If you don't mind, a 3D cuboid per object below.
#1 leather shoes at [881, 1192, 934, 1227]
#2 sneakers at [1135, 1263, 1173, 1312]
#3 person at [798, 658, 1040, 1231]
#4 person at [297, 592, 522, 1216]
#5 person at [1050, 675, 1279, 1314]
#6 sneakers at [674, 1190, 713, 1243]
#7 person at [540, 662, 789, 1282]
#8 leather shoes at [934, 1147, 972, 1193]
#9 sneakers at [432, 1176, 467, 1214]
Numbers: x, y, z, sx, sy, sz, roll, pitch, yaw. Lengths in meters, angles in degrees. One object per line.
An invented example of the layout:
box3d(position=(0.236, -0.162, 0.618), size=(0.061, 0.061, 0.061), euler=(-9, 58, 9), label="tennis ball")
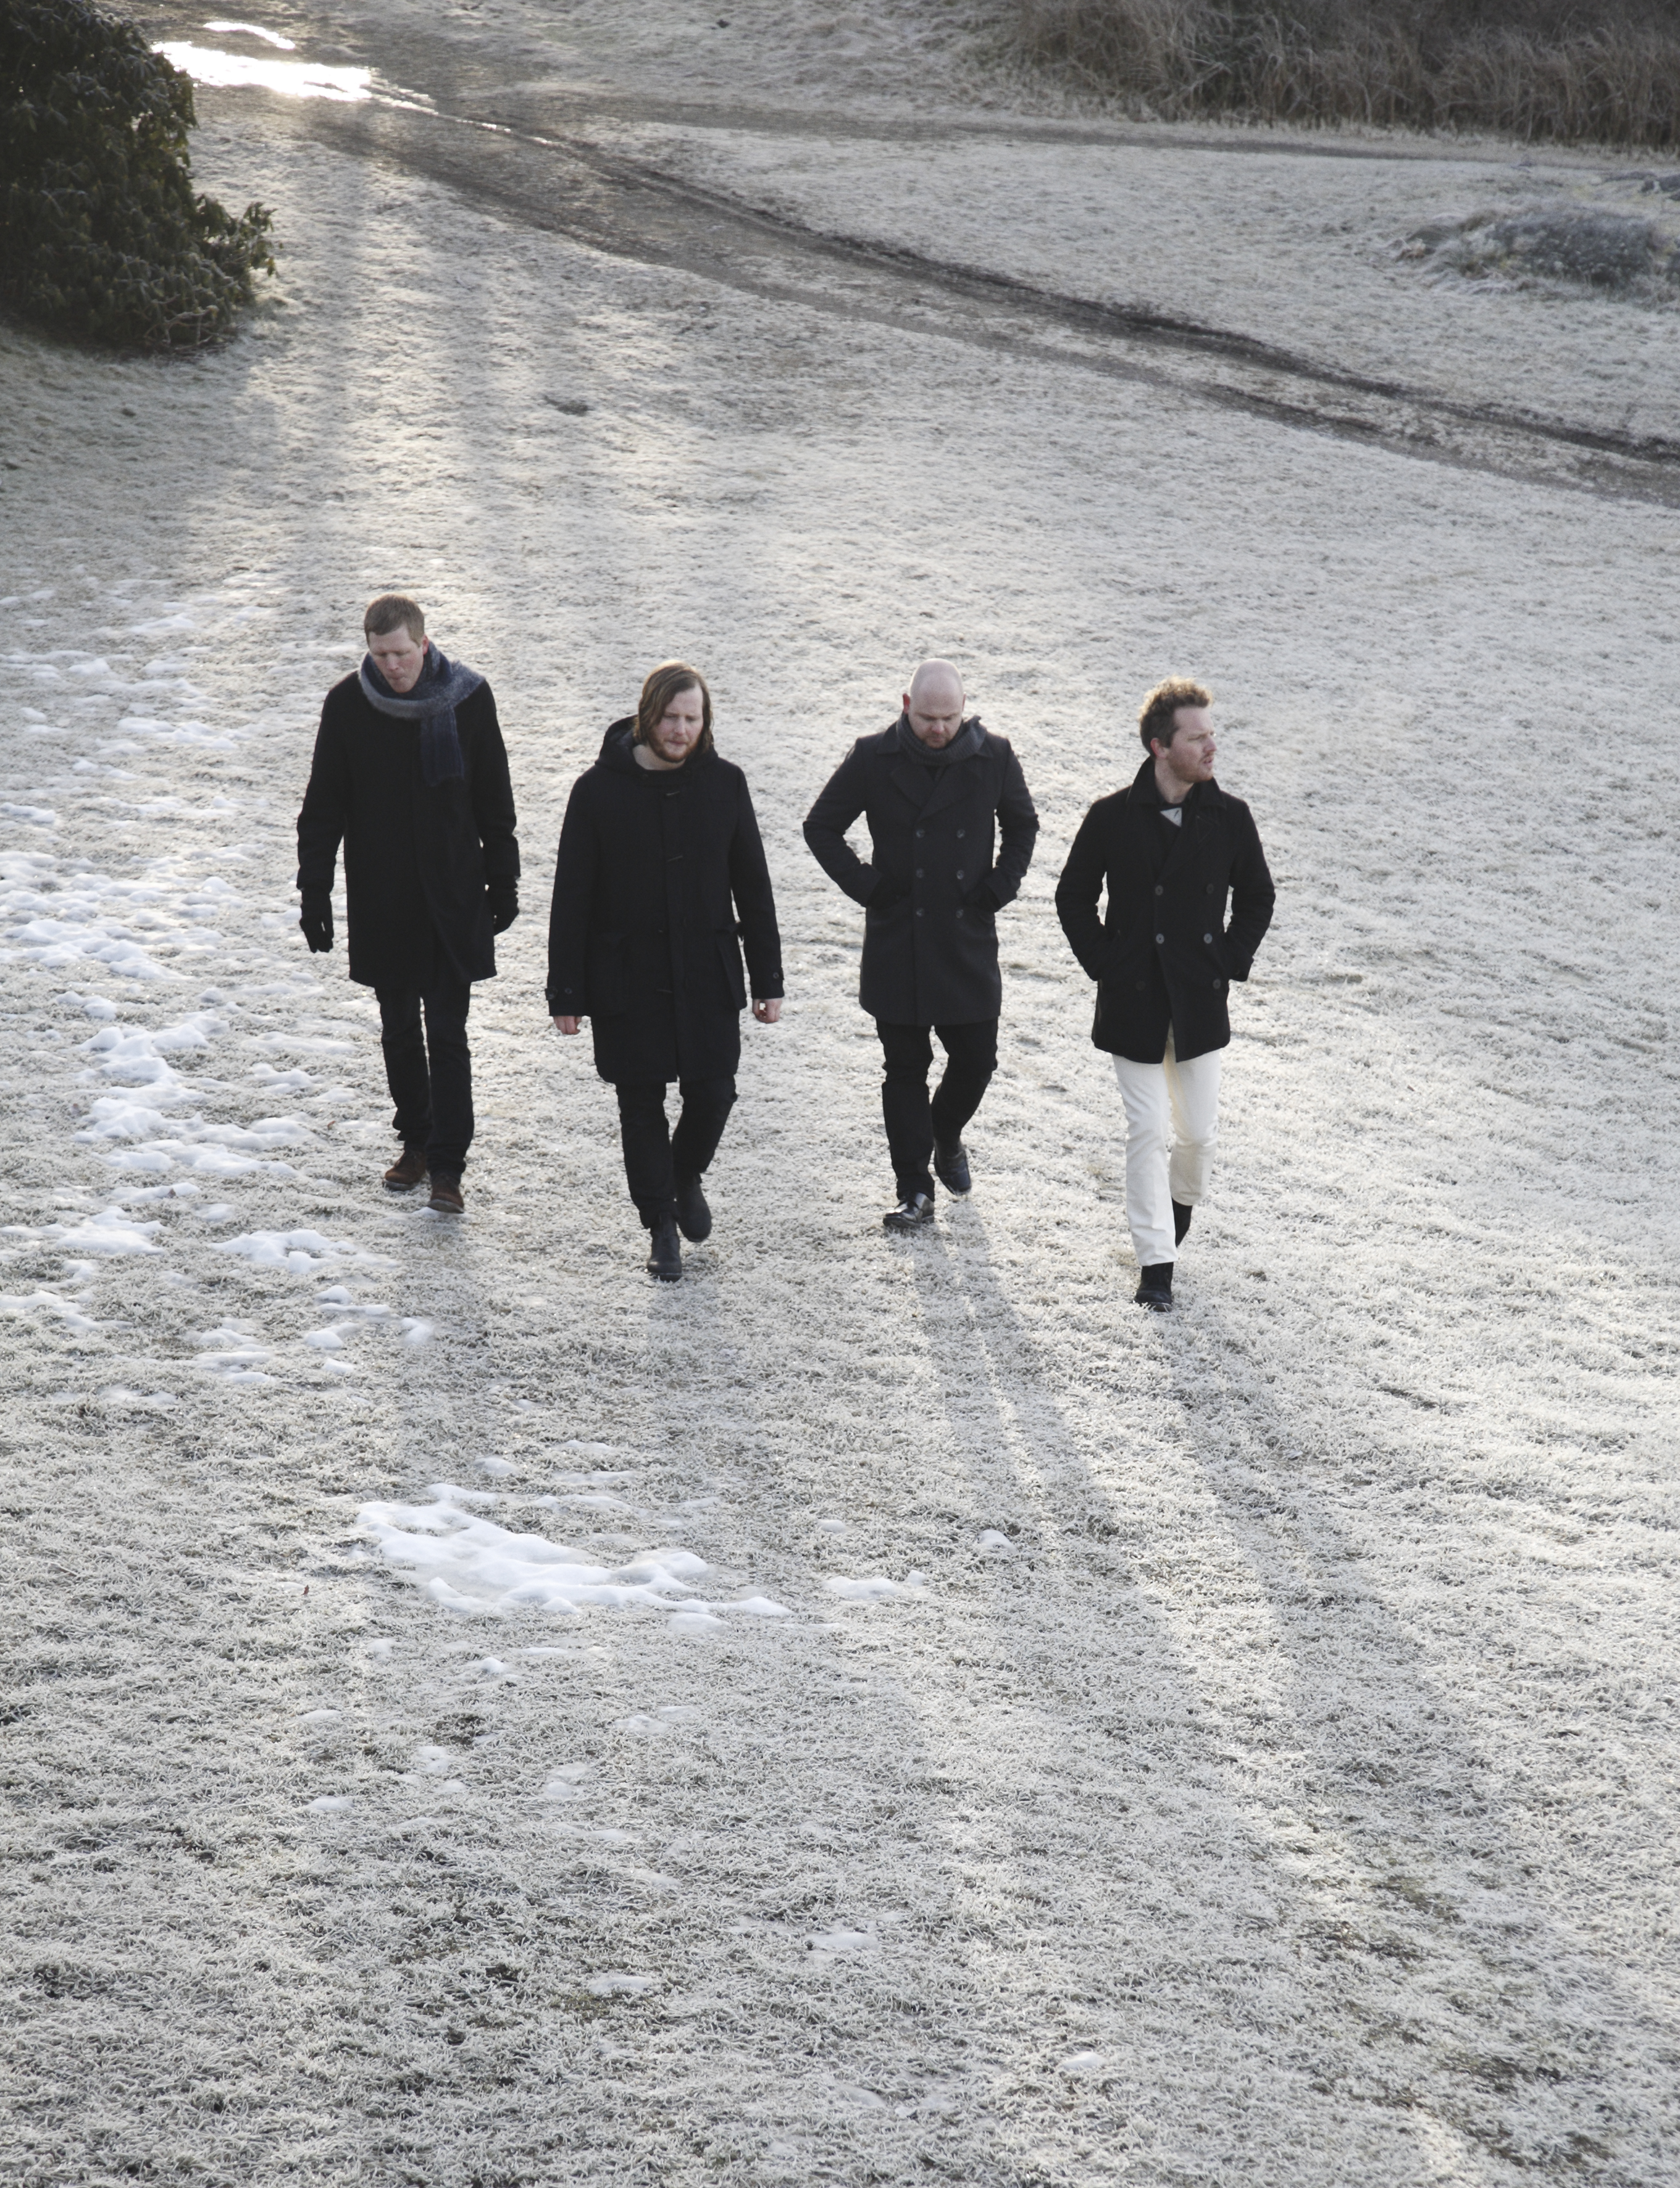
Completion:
box3d(position=(0.221, 0.401, 11.840), size=(0.178, 0.125, 0.080), euler=(0, 1, -4), label="leather shoes")
box3d(position=(0.983, 0.617, 11.370), size=(0.093, 0.146, 0.154), euler=(1, -13, 4), label="sneakers")
box3d(position=(0.270, -0.435, 11.474), size=(0.666, 1.813, 0.405), euler=(-8, 21, -21), label="person")
box3d(position=(-1.321, -0.463, 11.152), size=(0.645, 1.857, 0.341), euler=(-3, 20, -8), label="person")
box3d(position=(0.976, -0.255, 11.119), size=(0.633, 1.986, 0.457), euler=(4, 20, 12), label="person")
box3d(position=(-0.460, 0.421, 11.303), size=(0.066, 0.192, 0.137), euler=(-5, 14, -3), label="sneakers")
box3d(position=(-0.539, -0.291, 10.820), size=(0.667, 1.966, 0.316), euler=(-12, 23, -29), label="person")
box3d(position=(0.374, 0.286, 12.025), size=(0.070, 0.196, 0.139), euler=(-6, 51, 3), label="leather shoes")
box3d(position=(-1.252, 0.344, 11.494), size=(0.053, 0.157, 0.106), euler=(2, 51, -15), label="sneakers")
